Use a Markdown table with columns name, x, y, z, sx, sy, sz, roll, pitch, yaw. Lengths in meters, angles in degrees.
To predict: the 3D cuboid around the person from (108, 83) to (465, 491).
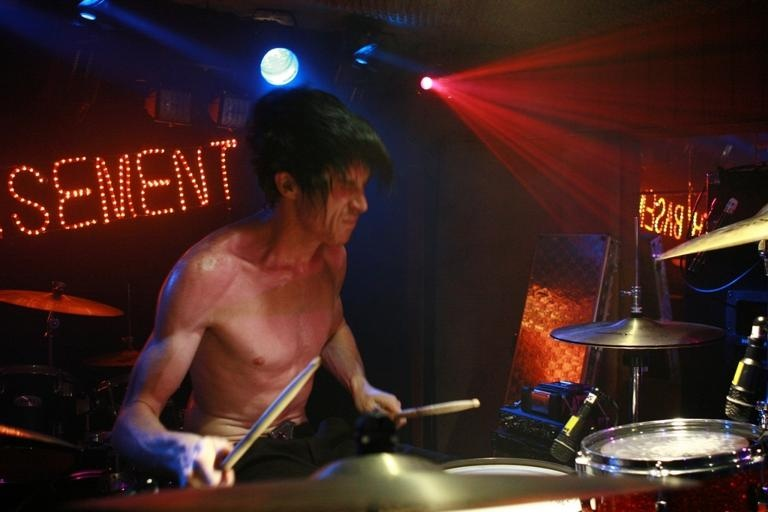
| name | x | y | z | sx | sy | sz | roll | pitch | yaw |
| --- | --- | --- | --- | --- | --- | --- | --- | --- | --- |
| person | -0.597 | 0.130 | 3.980 | 1.329 | 2.048 | 0.871 | 10 | -16 | -24 |

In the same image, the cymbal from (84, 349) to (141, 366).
| name | x | y | z | sx | sy | sz | roll | pitch | yaw |
| --- | --- | --- | --- | --- | --- | --- | --- | --- | --- |
| cymbal | -2.070 | 0.771 | 5.682 | 0.358 | 0.074 | 0.327 | -2 | 17 | 19 |
